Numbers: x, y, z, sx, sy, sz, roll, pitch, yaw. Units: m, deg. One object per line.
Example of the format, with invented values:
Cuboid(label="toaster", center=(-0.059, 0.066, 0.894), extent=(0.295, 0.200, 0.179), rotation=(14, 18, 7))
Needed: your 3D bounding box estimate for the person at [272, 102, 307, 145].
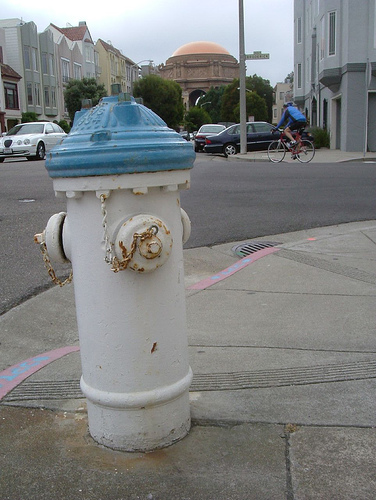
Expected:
Cuboid(label="person", center=(3.429, -4.187, 16.800), extent=(1.291, 1.637, 0.907), rotation=(5, 13, 27))

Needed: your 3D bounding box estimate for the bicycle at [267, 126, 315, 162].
Cuboid(label="bicycle", center=(3.545, -3.568, 17.935), extent=(1.479, 1.145, 2.925), rotation=(-1, 11, 6))

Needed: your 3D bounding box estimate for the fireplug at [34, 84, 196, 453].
Cuboid(label="fireplug", center=(-0.251, 0.085, 1.983), extent=(0.612, 1.246, 0.696), rotation=(-11, 12, -42))
